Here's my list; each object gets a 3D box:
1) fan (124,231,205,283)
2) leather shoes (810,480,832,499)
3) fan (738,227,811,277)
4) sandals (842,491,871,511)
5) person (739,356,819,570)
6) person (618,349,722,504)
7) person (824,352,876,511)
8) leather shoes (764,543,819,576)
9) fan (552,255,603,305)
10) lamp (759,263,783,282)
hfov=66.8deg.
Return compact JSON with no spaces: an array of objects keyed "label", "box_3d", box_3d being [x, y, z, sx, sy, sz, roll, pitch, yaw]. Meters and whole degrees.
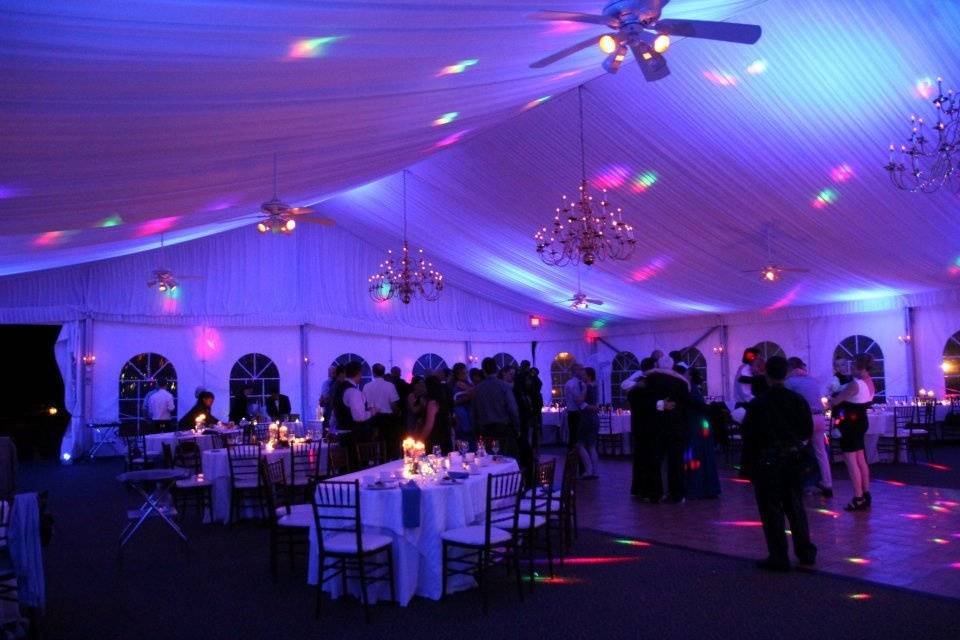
[{"label":"fan","box_3d":[-6.693,-1.191,16.012,1.018,1.036,1.009,2,-8,-30]},{"label":"leather shoes","box_3d":[4.673,2.326,9.898,0.140,0.143,0.335,-8,-17,-2]},{"label":"fan","box_3d":[5.597,-1.327,13.767,1.075,1.032,1.098,4,31,11]},{"label":"sandals","box_3d":[4.669,2.231,8.987,0.184,0.140,0.323,1,-3,-44]},{"label":"person","box_3d":[2.963,1.523,7.190,0.652,1.756,0.369,-2,1,-16]},{"label":"person","box_3d":[2.620,1.539,9.909,1.117,1.780,0.520,-2,1,13]},{"label":"person","box_3d":[4.687,1.390,9.162,0.440,1.891,0.783,-1,1,27]},{"label":"leather shoes","box_3d":[3.007,2.359,7.095,0.588,0.238,0.200,5,-11,-15]},{"label":"fan","box_3d":[2.357,-0.651,16.717,0.940,1.099,0.942,3,-10,-23]},{"label":"lamp","box_3d":[5.713,-0.958,14.260,0.205,0.234,0.416,9,15,14]}]
